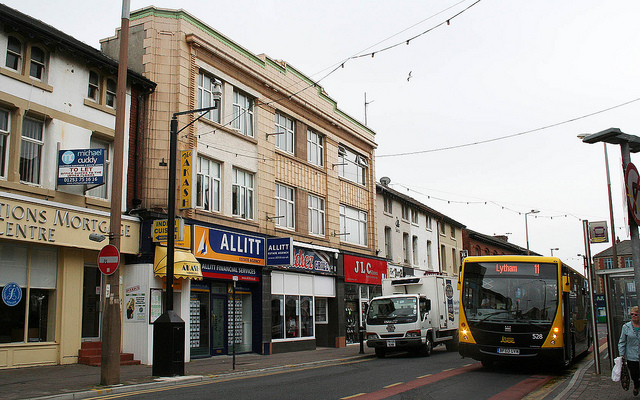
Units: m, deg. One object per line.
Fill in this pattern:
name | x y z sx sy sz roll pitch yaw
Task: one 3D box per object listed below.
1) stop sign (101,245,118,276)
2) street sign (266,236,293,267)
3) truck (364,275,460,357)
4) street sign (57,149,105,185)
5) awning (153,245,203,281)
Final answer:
stop sign | -7.364 2.116 22.342 0.909 1.112 0.073 -7 -9 31
street sign | -2.283 2.781 34.427 1.486 1.531 0.558 -1 3 -20
truck | 5.279 6.459 35.444 3.396 4.060 7.763 -7 -12 28
street sign | -10.088 -1.388 27.015 1.906 1.460 0.381 -3 -15 2
awning | -6.564 2.927 29.473 1.083 1.523 1.985 -15 -21 38
